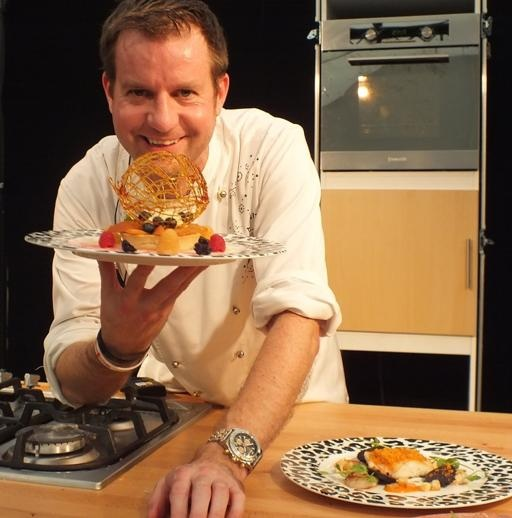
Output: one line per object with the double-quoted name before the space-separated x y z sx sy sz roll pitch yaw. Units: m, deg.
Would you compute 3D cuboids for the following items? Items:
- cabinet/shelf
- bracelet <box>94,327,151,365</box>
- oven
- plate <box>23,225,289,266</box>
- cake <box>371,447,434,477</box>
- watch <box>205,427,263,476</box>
"cabinet/shelf" 0.535 0.038 2.682 0.995 0.732 0.594 0 3 13
"bracelet" -0.259 0.169 1.095 0.080 0.068 0.025 4 -26 -12
"oven" 0.763 -0.720 2.469 0.517 0.631 0.779 -20 25 -36
"plate" -0.146 -0.013 0.922 0.383 0.070 0.408 0 3 2
"cake" 0.193 0.265 0.763 0.059 0.016 0.039 1 5 18
"watch" -0.022 0.255 0.800 0.071 0.061 0.048 31 57 11
